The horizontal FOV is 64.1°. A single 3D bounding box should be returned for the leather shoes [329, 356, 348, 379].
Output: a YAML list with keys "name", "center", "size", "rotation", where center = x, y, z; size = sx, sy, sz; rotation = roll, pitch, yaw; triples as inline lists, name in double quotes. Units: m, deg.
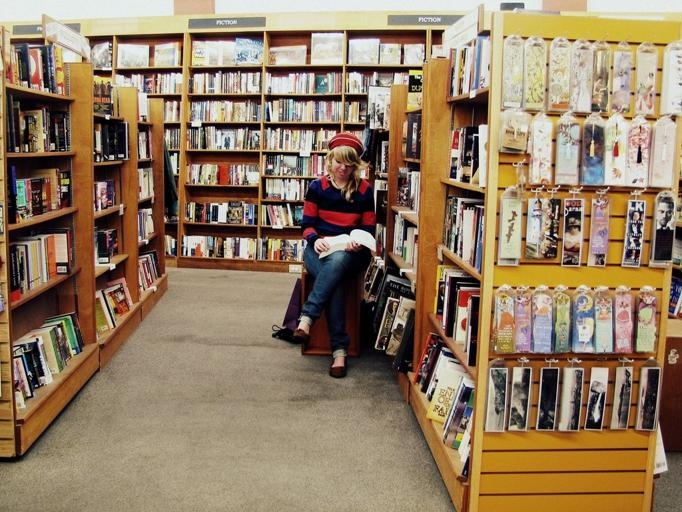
- name: "leather shoes"
  center: [-0.022, 0.820, 4.004]
  size: [0.110, 0.139, 0.340]
  rotation: [0, -4, 2]

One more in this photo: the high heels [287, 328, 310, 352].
- name: "high heels"
  center: [-0.303, 0.610, 4.023]
  size: [0.102, 0.094, 0.299]
  rotation: [1, -16, -1]

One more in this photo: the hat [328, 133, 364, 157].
- name: "hat"
  center: [0.036, -0.815, 4.067]
  size: [0.204, 0.121, 0.187]
  rotation: [15, 2, -12]
